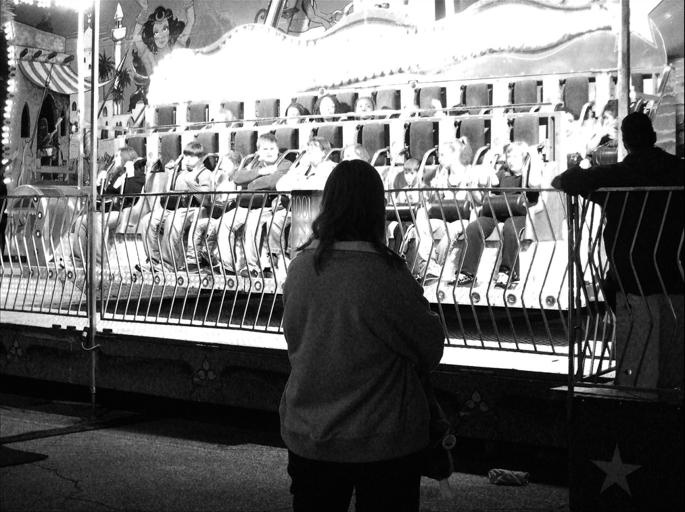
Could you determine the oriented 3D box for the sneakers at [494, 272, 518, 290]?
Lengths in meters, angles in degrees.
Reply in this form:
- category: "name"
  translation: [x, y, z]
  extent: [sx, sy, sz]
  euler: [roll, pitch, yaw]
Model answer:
- category: "sneakers"
  translation: [1.356, 0.199, 7.344]
  extent: [0.151, 0.137, 0.263]
  euler: [3, -26, 5]
